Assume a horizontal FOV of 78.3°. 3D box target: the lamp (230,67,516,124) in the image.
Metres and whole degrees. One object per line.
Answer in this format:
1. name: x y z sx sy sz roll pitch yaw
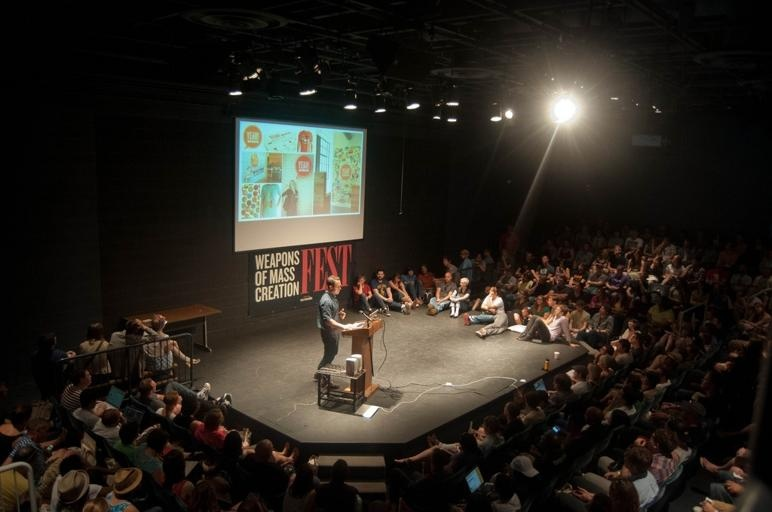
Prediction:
1. lamp: -0.453 -3.721 10.936 5.638 0.839 1.368 7 9 42

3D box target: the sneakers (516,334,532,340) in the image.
1. sneakers: 3.374 1.963 11.544 0.330 0.143 0.110 -5 -2 38

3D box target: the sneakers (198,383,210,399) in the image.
1. sneakers: -3.206 2.368 8.320 0.098 0.295 0.123 17 2 32

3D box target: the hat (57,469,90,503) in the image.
1. hat: -3.368 2.477 5.089 0.283 0.323 0.124 -3 -32 -7

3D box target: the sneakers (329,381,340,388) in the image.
1. sneakers: -0.925 2.320 8.579 0.195 0.140 0.064 -2 8 -22

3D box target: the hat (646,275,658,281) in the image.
1. hat: 7.614 0.632 13.526 0.206 0.111 0.281 -4 5 -29

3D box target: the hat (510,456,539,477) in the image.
1. hat: 1.760 2.664 6.012 0.193 0.115 0.286 -7 6 -32

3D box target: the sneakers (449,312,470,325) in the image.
1. sneakers: 2.093 1.659 12.732 0.198 0.254 0.593 0 9 -30

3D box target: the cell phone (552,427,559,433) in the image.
1. cell phone: 2.510 2.544 6.976 0.099 0.034 0.086 0 5 -13

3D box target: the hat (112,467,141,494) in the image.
1. hat: -3.111 2.728 5.716 0.307 0.119 0.292 -15 35 -35

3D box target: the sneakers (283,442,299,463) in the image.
1. sneakers: -1.430 2.969 7.184 0.123 0.148 0.367 13 38 -18

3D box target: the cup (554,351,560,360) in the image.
1. cup: 3.814 2.188 10.515 0.120 0.121 0.122 0 8 0
